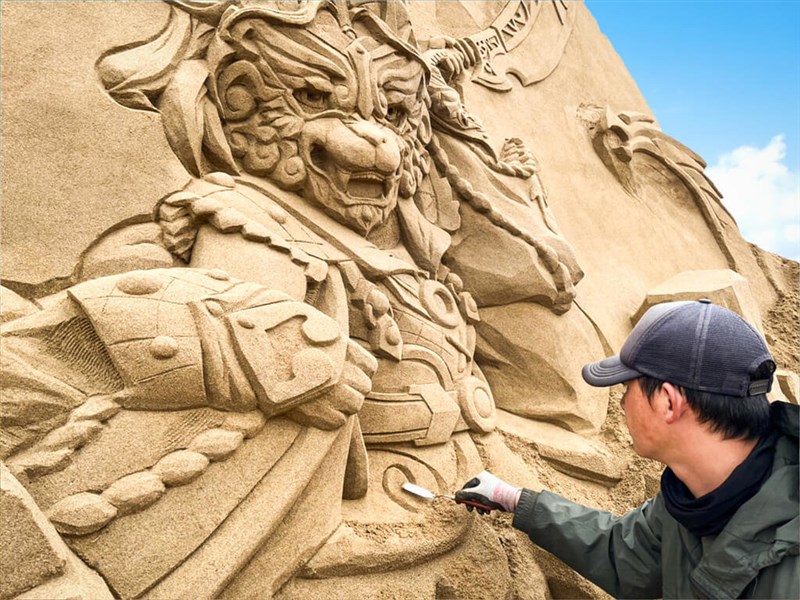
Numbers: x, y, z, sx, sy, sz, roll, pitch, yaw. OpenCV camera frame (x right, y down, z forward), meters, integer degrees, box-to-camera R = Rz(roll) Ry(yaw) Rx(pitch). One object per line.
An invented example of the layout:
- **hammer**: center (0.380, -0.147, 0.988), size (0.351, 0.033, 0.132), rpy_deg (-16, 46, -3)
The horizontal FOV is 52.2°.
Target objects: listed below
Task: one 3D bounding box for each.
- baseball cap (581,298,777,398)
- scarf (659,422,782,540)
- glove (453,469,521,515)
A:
- **baseball cap**: center (0.965, 0.148, 2.777), size (0.455, 0.290, 0.304), rpy_deg (8, 0, 26)
- **scarf**: center (1.052, 0.607, 2.703), size (0.177, 0.386, 0.298), rpy_deg (34, -4, 0)
- **glove**: center (0.352, 0.770, 3.242), size (0.207, 0.167, 0.099), rpy_deg (3, 0, 36)
